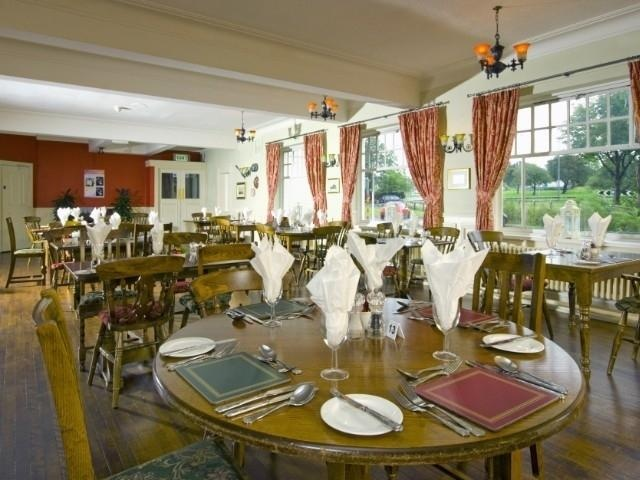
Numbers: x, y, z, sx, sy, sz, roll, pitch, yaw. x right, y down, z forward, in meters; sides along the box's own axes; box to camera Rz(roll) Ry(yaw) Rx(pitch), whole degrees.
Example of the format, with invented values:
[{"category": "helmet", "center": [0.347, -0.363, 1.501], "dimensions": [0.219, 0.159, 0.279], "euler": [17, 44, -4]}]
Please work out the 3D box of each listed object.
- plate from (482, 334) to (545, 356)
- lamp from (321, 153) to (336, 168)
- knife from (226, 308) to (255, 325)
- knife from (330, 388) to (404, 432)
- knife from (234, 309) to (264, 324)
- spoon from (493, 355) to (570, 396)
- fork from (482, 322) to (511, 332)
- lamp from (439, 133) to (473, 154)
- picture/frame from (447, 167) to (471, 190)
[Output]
[{"category": "plate", "center": [0.950, 0.508, 2.330], "dimensions": [0.299, 0.064, 0.170], "euler": [-1, 3, 11]}, {"category": "lamp", "center": [0.189, -1.510, 8.922], "dimensions": [0.169, 0.261, 0.491], "euler": [-3, 3, -23]}, {"category": "knife", "center": [-0.451, 0.420, 2.651], "dimensions": [0.091, 0.023, 0.081], "euler": [15, 9, 34]}, {"category": "knife", "center": [0.189, 0.690, 1.913], "dimensions": [0.044, 0.023, 0.264], "euler": [-25, 29, -30]}, {"category": "knife", "center": [-0.394, 0.424, 2.636], "dimensions": [0.160, 0.017, 0.090], "euler": [16, 1, 30]}, {"category": "spoon", "center": [0.894, 0.586, 2.094], "dimensions": [0.089, 0.068, 0.380], "euler": [-6, 17, -37]}, {"category": "fork", "center": [0.927, 0.455, 2.485], "dimensions": [0.203, 0.051, 0.053], "euler": [-5, 6, -45]}, {"category": "lamp", "center": [1.946, -1.375, 6.668], "dimensions": [0.334, 0.295, 0.637], "euler": [-1, 3, 1]}, {"category": "picture/frame", "center": [1.986, -0.868, 6.744], "dimensions": [0.039, 0.299, 0.396], "euler": [-3, 4, -35]}]
